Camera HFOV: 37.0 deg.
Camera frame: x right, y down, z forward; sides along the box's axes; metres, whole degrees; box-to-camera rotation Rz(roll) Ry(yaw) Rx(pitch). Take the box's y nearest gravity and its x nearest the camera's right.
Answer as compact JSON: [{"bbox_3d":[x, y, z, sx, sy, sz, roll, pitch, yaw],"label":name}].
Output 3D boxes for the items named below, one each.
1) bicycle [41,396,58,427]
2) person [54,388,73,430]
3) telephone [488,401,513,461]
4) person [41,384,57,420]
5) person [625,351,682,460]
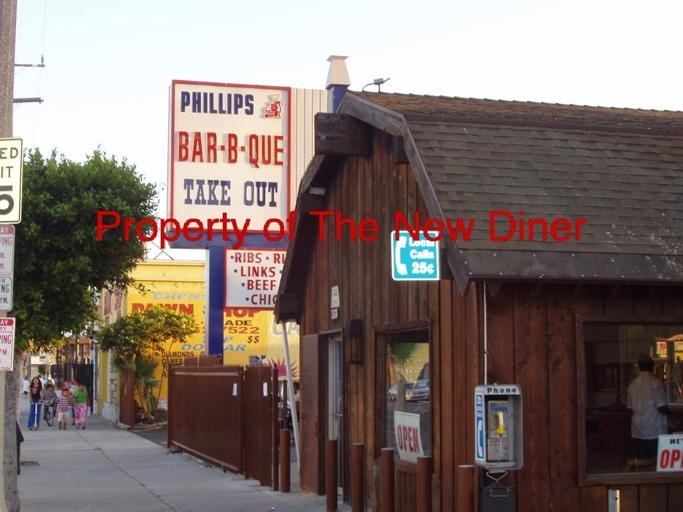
[{"bbox_3d":[-10.726,5.896,38.483,0.764,1.108,1.578,3,-9,-20],"label":"bicycle"},{"bbox_3d":[-9.443,5.215,34.934,0.541,1.411,0.400,4,6,-18],"label":"person"},{"bbox_3d":[2.041,2.258,13.108,0.365,0.773,0.103,3,-7,-27],"label":"telephone"},{"bbox_3d":[-11.149,5.595,39.160,0.296,1.556,1.398,1,13,-26],"label":"person"},{"bbox_3d":[4.239,2.145,14.161,0.569,1.542,0.474,-2,-7,12],"label":"person"}]
